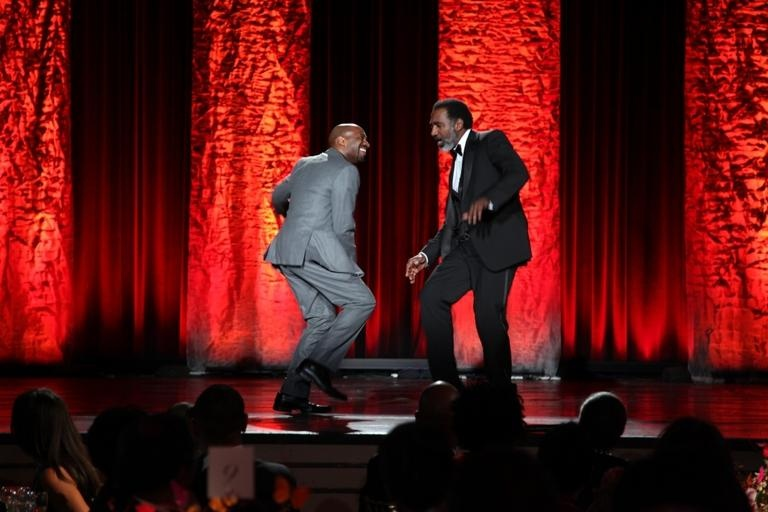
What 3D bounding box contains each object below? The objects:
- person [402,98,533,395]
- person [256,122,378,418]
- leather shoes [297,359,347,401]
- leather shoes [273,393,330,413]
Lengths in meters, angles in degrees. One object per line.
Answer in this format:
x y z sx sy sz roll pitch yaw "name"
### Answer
0.413 -0.021 3.532 0.594 1.280 0.347 3 -2 14 "person"
-0.340 0.042 3.787 0.605 1.042 0.365 3 -2 4 "person"
-0.283 0.629 3.683 0.198 0.138 0.218 2 -3 31 "leather shoes"
-0.427 0.755 3.693 0.345 0.114 0.109 3 -2 -21 "leather shoes"
